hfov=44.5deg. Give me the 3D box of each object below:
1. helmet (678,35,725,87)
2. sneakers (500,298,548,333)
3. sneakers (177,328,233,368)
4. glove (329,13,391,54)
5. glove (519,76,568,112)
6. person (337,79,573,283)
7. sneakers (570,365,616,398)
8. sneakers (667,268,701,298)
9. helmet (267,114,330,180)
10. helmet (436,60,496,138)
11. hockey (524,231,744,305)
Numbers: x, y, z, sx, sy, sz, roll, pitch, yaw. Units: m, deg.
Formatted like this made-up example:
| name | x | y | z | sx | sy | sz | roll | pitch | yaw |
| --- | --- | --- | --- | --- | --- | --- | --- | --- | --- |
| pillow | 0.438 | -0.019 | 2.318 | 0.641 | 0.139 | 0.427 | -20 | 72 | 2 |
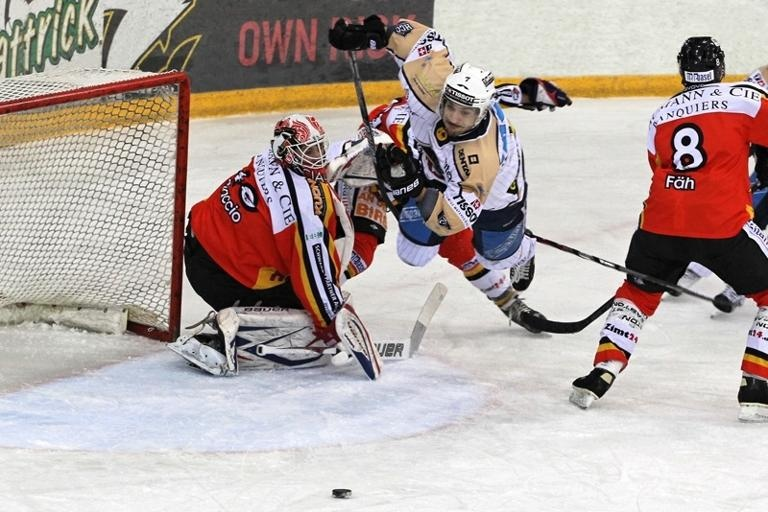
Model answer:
| name | x | y | z | sx | sy | sz | roll | pitch | yaw |
| --- | --- | --- | --- | --- | --- | --- | --- | --- | --- |
| helmet | 1.572 | -0.954 | 4.689 | 0.298 | 0.249 | 0.309 | -4 | 15 | 14 |
| sneakers | 0.815 | 0.348 | 5.469 | 0.294 | 0.115 | 0.127 | 28 | -12 | 43 |
| sneakers | -0.857 | 0.460 | 4.630 | 0.224 | 0.091 | 0.230 | 26 | 10 | 21 |
| glove | -0.033 | -1.218 | 5.223 | 0.436 | 0.155 | 0.285 | 7 | 13 | 28 |
| glove | 0.978 | -0.957 | 5.507 | 0.329 | 0.134 | 0.225 | 21 | 19 | 18 |
| person | 0.499 | -0.561 | 5.807 | 1.301 | 1.131 | 0.390 | -17 | 32 | -28 |
| sneakers | 1.030 | 0.614 | 4.555 | 0.128 | 0.156 | 0.242 | 36 | -8 | 0 |
| sneakers | 1.690 | 0.150 | 5.302 | 0.164 | 0.163 | 0.167 | 10 | -9 | -3 |
| helmet | -0.411 | -0.560 | 4.759 | 0.325 | 0.265 | 0.265 | 19 | 23 | 35 |
| helmet | 0.410 | -0.759 | 4.593 | 0.270 | 0.341 | 0.228 | -1 | 16 | 7 |
| hockey | 1.427 | 0.091 | 5.340 | 1.148 | 0.032 | 0.111 | 21 | 60 | 8 |
